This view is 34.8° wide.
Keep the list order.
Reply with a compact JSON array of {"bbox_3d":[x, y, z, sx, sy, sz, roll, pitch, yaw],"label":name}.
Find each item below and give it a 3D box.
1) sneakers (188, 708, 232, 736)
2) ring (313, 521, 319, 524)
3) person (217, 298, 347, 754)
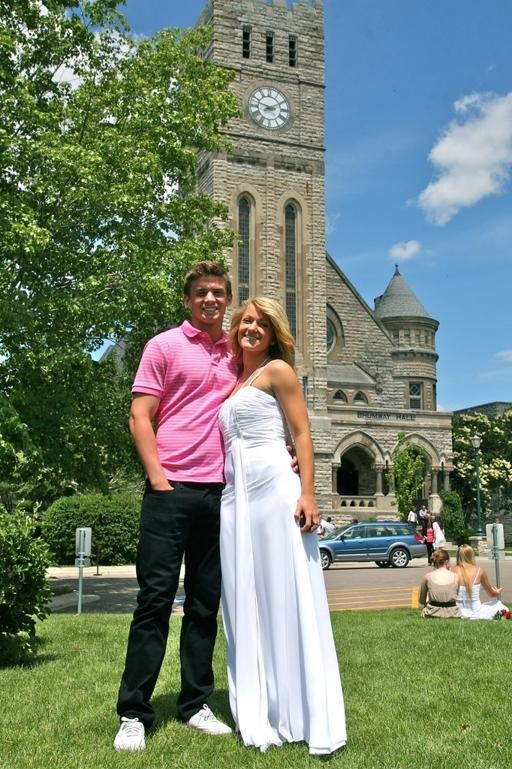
[{"bbox_3d":[-0.221,1.649,4.008,0.141,0.088,0.293,7,-11,-39],"label":"sneakers"},{"bbox_3d":[0.301,0.688,4.094,0.020,0.021,0.019,-1,-4,0],"label":"ring"},{"bbox_3d":[0.112,0.584,4.153,0.565,2.251,0.852,1,-9,-9],"label":"person"}]
